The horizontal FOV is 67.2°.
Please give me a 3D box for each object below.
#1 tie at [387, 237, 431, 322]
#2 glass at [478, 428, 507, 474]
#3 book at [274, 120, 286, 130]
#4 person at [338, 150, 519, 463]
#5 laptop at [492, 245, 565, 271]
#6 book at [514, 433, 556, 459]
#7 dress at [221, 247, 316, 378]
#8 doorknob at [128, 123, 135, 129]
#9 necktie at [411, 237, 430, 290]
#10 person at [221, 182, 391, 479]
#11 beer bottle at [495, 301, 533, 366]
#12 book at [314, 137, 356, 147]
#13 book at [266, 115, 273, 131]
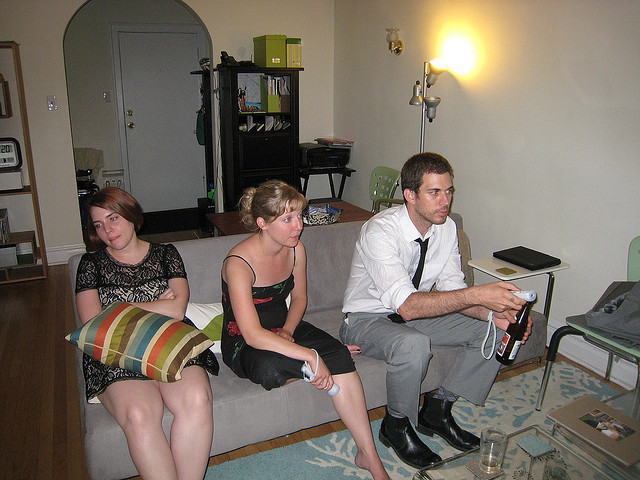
[{"bbox_3d":[0.522,0.218,2.743,0.087,0.459,0.243,14,6,-25],"label":"tie"},{"bbox_3d":[0.748,0.885,2.043,0.148,0.182,0.071,-4,15,-15],"label":"glass"},{"bbox_3d":[-0.464,-1.337,5.583,0.123,0.104,0.040,-13,19,-38],"label":"book"},{"bbox_3d":[0.607,0.363,2.617,0.746,1.591,1.088,-9,12,-40],"label":"person"},{"bbox_3d":[1.385,0.119,3.180,0.206,0.046,0.224,-8,19,-21],"label":"laptop"},{"bbox_3d":[0.956,0.914,2.137,0.155,0.045,0.093,-6,16,-20],"label":"book"},{"bbox_3d":[-0.306,0.413,2.526,0.351,0.672,0.329,-5,21,-28],"label":"dress"},{"bbox_3d":[-2.559,-1.552,6.532,0.059,0.055,0.046,8,10,14],"label":"doorknob"},{"bbox_3d":[0.562,0.135,2.703,0.072,0.275,0.086,15,9,41],"label":"necktie"},{"bbox_3d":[-0.116,0.449,2.456,0.574,1.427,0.856,-12,19,-38],"label":"person"},{"bbox_3d":[0.999,0.465,2.470,0.094,0.374,0.096,15,16,-4],"label":"beer bottle"},{"bbox_3d":[0.155,-1.205,5.961,0.349,0.089,0.527,-9,18,-29],"label":"book"},{"bbox_3d":[-0.579,-1.348,5.523,0.045,0.131,0.093,9,46,-18],"label":"book"}]
